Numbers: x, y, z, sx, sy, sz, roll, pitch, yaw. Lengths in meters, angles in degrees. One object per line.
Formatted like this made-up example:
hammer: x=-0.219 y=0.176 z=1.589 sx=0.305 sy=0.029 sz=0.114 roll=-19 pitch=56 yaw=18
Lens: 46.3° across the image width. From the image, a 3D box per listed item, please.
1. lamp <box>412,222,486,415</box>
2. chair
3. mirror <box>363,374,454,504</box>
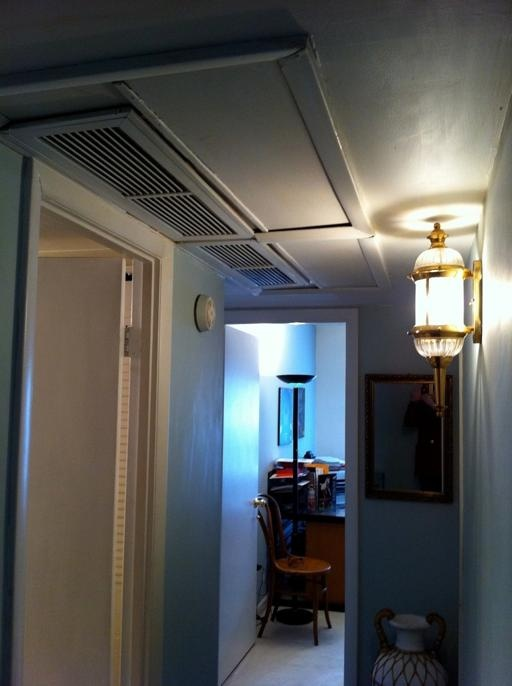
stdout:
lamp: x=0.456 y=-0.056 z=1.469 sx=0.140 sy=0.515 sz=0.141 roll=-5 pitch=-26 yaw=28
chair: x=0.243 y=1.460 z=3.966 sx=0.358 sy=0.912 sz=0.357 roll=-1 pitch=-1 yaw=8
mirror: x=0.748 y=0.460 z=2.979 sx=0.442 sy=0.841 sz=0.063 roll=1 pitch=29 yaw=18
